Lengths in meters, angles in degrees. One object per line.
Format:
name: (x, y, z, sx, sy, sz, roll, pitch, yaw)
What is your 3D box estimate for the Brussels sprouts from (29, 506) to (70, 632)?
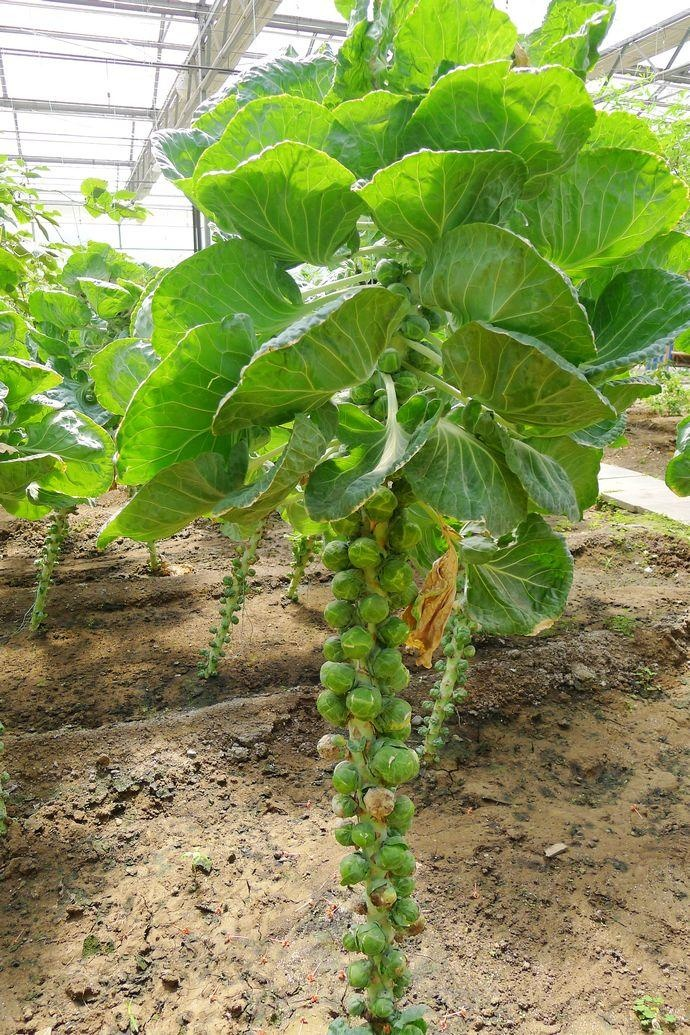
Brussels sprouts: (-2.322, 0.433, 5.602, 0.221, 0.872, 0.280, -5, 12, -37)
